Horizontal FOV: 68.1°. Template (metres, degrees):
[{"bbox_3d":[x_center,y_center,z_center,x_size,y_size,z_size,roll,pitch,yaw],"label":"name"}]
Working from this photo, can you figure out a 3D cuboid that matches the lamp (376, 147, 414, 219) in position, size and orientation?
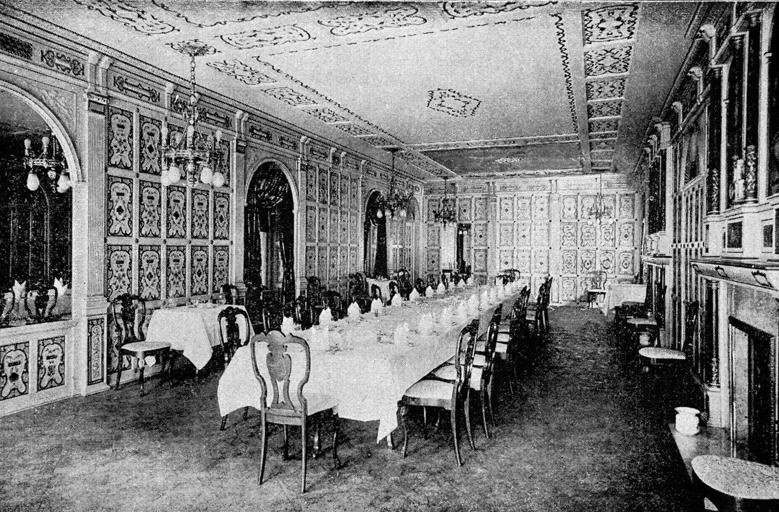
[{"bbox_3d":[0.081,-1.655,12.693,0.946,1.514,0.839,0,1,-18],"label":"lamp"}]

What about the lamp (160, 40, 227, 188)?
[{"bbox_3d":[-2.746,-1.818,7.877,0.857,1.714,2.186,-3,0,-16],"label":"lamp"}]

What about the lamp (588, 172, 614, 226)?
[{"bbox_3d":[5.348,-1.449,14.661,0.638,1.335,0.914,-2,1,19],"label":"lamp"}]
